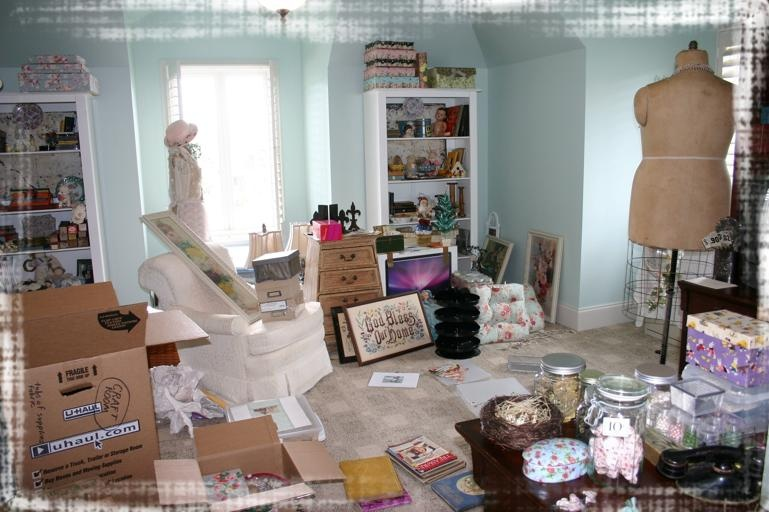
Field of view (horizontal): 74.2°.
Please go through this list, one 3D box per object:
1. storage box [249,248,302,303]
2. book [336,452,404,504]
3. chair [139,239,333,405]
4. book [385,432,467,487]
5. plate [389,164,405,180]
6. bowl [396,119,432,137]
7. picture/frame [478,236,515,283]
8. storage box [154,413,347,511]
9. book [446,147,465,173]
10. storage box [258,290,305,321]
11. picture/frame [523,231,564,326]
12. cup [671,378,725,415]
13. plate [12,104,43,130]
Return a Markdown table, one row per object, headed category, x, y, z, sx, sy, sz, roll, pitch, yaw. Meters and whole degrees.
| category | x | y | z | sx | sy | sz | roll | pitch | yaw |
| --- | --- | --- | --- | --- | --- | --- | --- | --- | --- |
| storage box | -0.864 | 0.140 | 4.172 | 0.415 | 0.372 | 0.402 | -3 | 8 | 8 |
| book | -0.093 | 1.416 | 3.262 | 0.401 | 0.089 | 0.383 | -4 | 24 | -12 |
| chair | -1.253 | 0.504 | 4.560 | 1.474 | 1.159 | 1.126 | 4 | 14 | 11 |
| book | 0.274 | 1.351 | 3.428 | 0.268 | 0.060 | 0.262 | -8 | 17 | -35 |
| plate | 0.139 | -0.985 | 5.941 | 0.226 | 0.177 | 0.152 | -7 | 12 | -15 |
| bowl | 0.334 | -1.485 | 5.968 | 0.357 | 0.161 | 0.227 | 3 | 10 | 16 |
| picture/frame | 1.387 | 0.051 | 6.267 | 0.067 | 0.605 | 0.467 | 19 | 5 | -35 |
| storage box | -0.712 | 1.150 | 2.819 | 0.581 | 0.194 | 0.556 | -2 | 29 | -29 |
| book | 0.851 | -1.135 | 6.132 | 0.298 | 0.283 | 0.091 | 1 | -9 | 45 |
| storage box | -0.869 | 0.432 | 4.223 | 0.231 | 0.134 | 0.306 | -2 | 7 | 5 |
| picture/frame | 1.807 | 0.210 | 5.800 | 0.269 | 0.955 | 0.575 | -6 | 13 | -10 |
| cup | 1.652 | 0.744 | 2.708 | 0.281 | 0.154 | 0.134 | -7 | 13 | -17 |
| plate | -3.741 | -1.473 | 5.350 | 0.249 | 0.249 | 0.085 | -6 | 13 | -12 |
